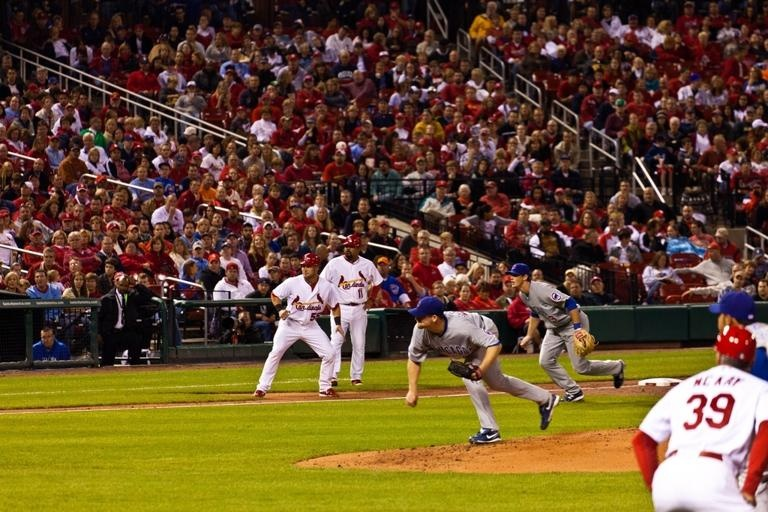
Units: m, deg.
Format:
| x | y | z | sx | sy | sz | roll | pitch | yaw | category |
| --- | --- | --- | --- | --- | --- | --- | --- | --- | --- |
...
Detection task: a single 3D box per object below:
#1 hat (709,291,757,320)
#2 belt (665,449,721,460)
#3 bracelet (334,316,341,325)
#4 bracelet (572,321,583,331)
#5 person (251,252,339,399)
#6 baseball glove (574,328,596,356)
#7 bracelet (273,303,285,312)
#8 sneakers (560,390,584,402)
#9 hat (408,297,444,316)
| x | y | z | sx | sy | sz | roll | pitch | yaw | category |
| --- | --- | --- | --- | --- | --- | --- | --- | --- | --- |
| 5.201 | 0.715 | 23.521 | 0.578 | 0.314 | 0.399 | 13 | 10 | 22 | hat |
| 4.397 | 2.769 | 22.358 | 0.767 | 0.135 | 0.147 | 2 | -6 | 7 | belt |
| -0.920 | 1.287 | 31.393 | 0.155 | 0.152 | 0.145 | 0 | 1 | -10 | bracelet |
| 3.644 | 1.306 | 29.562 | 0.146 | 0.104 | 0.142 | -3 | 7 | -29 | bracelet |
| -1.625 | 1.365 | 30.875 | 1.550 | 2.803 | 0.831 | 4 | -6 | -5 | person |
| 3.677 | 1.582 | 29.145 | 0.392 | 0.470 | 0.252 | -6 | 2 | -17 | baseball glove |
| -2.027 | 0.995 | 30.903 | 0.174 | 0.082 | 0.235 | -2 | -14 | 2 | bracelet |
| 3.579 | 2.632 | 29.966 | 0.470 | 0.160 | 0.215 | -8 | -6 | 30 | sneakers |
| 0.745 | 0.859 | 26.540 | 0.482 | 0.247 | 0.303 | 4 | 6 | -5 | hat |
